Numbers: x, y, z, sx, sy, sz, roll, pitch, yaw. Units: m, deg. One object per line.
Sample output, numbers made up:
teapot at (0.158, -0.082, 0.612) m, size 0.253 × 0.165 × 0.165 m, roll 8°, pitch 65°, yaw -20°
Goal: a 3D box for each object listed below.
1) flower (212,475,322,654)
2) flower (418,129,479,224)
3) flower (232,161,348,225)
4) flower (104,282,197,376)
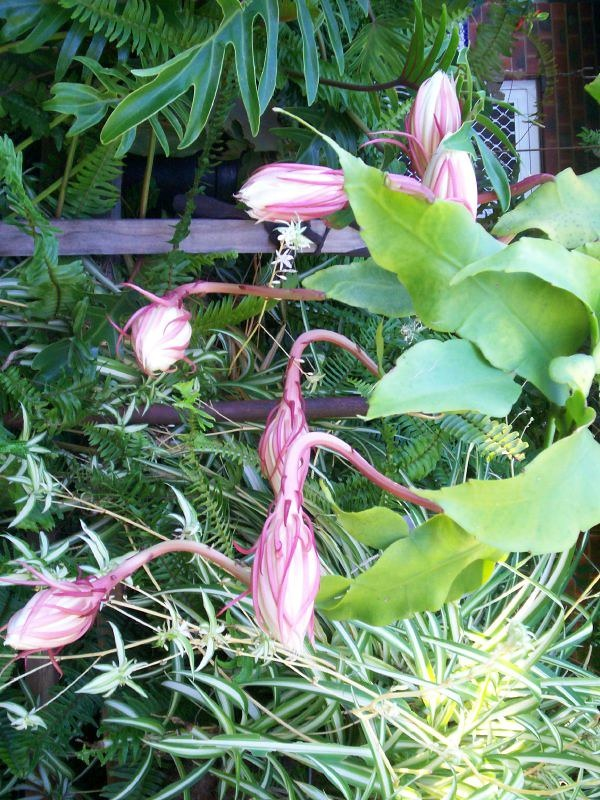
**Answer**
flower at (-0.003, 0.068, 0.333) m, size 0.037 × 0.090 × 0.033 m, roll 0°, pitch -3°, yaw 5°
flower at (0.077, -0.113, 0.351) m, size 0.029 × 0.039 × 0.029 m, roll 7°, pitch 38°, yaw 7°
flower at (-0.005, -0.105, 0.360) m, size 0.056 × 0.025 × 0.024 m, roll 1°, pitch -5°, yaw -4°
flower at (-0.082, -0.038, 0.422) m, size 0.047 × 0.032 × 0.058 m, roll 30°, pitch 47°, yaw -9°
